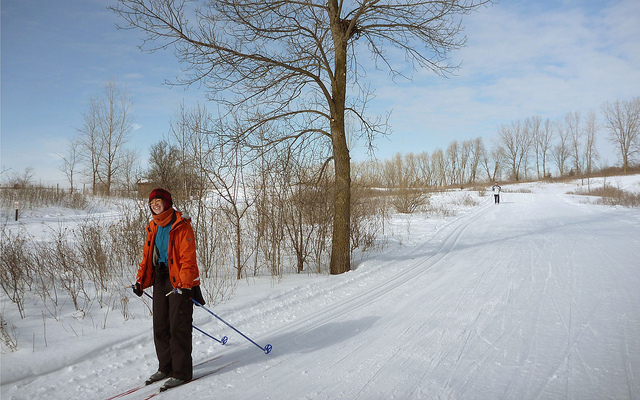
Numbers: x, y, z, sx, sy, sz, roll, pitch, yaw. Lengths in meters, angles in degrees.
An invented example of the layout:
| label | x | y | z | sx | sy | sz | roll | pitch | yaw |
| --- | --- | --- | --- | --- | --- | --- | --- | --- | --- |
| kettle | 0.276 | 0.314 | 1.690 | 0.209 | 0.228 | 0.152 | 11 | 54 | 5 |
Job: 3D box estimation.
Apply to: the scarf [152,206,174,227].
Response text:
| label | x | y | z | sx | sy | sz | roll | pitch | yaw |
| --- | --- | --- | --- | --- | --- | --- | --- | --- | --- |
| scarf | -3.686 | 0.412 | 10.626 | 0.325 | 0.268 | 0.422 | -6 | -3 | 8 |
